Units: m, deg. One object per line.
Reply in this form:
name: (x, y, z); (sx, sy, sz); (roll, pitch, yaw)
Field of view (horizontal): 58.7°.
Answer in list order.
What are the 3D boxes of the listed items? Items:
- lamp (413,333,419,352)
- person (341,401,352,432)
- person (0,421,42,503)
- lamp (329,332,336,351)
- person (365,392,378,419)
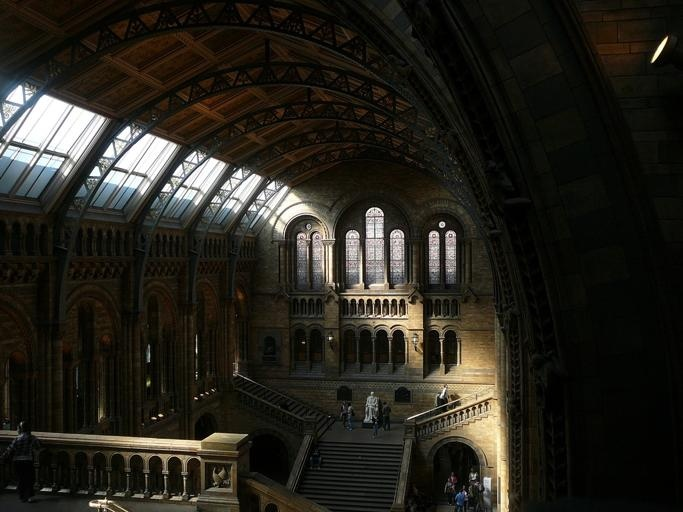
lamp: (4.453, 5.122, 36.034); (0.370, 0.984, 0.124); (3, -5, 13)
person: (0.357, 9.057, 34.575); (0.726, 1.247, 2.345); (4, -5, 2)
person: (-5.061, 3.244, 9.667); (0.494, 1.254, 0.439); (-1, -7, 44)
lamp: (-0.553, 5.227, 37.181); (0.511, 1.054, 0.248); (4, -5, -3)
person: (1.719, 8.456, 33.326); (0.453, 1.488, 1.401); (5, -5, -12)
